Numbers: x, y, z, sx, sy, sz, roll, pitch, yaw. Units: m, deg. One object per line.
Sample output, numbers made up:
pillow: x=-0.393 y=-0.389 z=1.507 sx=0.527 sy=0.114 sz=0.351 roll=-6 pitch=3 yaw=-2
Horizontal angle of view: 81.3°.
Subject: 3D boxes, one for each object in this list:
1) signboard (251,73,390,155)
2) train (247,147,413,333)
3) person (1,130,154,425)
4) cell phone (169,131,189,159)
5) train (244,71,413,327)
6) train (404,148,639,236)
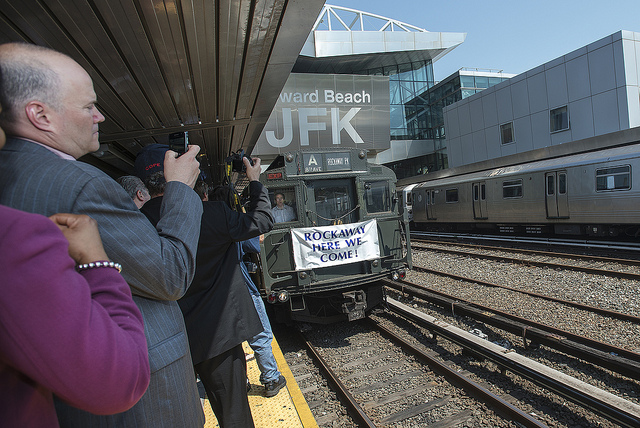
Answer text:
signboard: x=0.051 y=-4.923 z=18.346 sx=5.839 sy=3.088 sz=3.147 roll=-1 pitch=17 yaw=-6
train: x=-0.433 y=0.179 z=9.764 sx=3.268 sy=3.438 sz=6.463 roll=-7 pitch=6 yaw=-13
person: x=-0.920 y=0.361 z=1.427 sx=0.448 sy=0.748 sz=0.250 roll=-6 pitch=4 yaw=-34
cell phone: x=-0.925 y=-0.439 z=2.458 sx=0.108 sy=0.202 sz=0.029 roll=-9 pitch=-14 yaw=-9
train: x=0.012 y=0.553 z=10.659 sx=2.576 sy=3.870 sz=8.095 roll=-7 pitch=-4 yaw=-7
train: x=7.423 y=-0.583 z=16.958 sx=1.088 sy=3.345 sz=12.430 roll=-5 pitch=4 yaw=-21
